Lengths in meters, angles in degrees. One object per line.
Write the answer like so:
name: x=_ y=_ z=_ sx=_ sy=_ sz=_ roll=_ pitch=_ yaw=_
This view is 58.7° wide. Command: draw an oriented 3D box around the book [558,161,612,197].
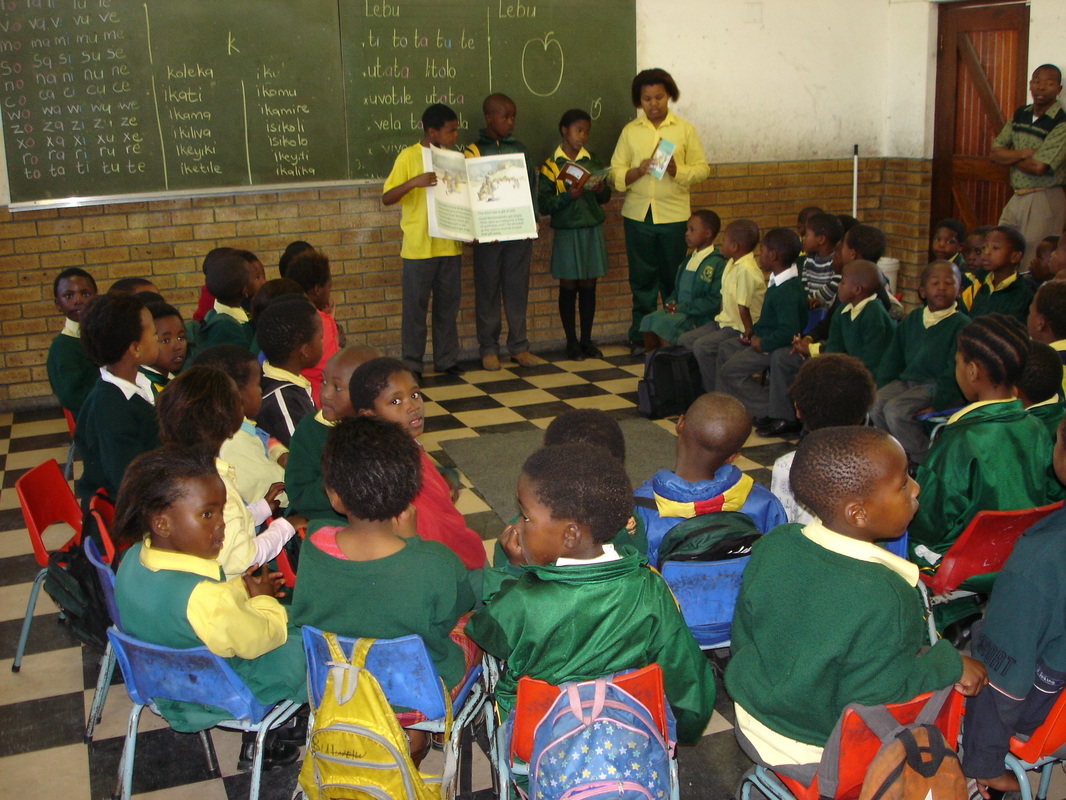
book: x=0.354 y=-1.442 z=6.356 sx=0.284 sy=0.298 sz=0.178 roll=-2 pitch=-9 yaw=20

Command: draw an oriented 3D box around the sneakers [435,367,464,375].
sneakers: x=-0.571 y=-0.193 z=6.401 sx=0.173 sy=0.076 sz=0.065 roll=-3 pitch=9 yaw=12

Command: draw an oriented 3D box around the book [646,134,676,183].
book: x=0.847 y=-1.605 z=6.311 sx=0.056 sy=0.233 sz=0.236 roll=12 pitch=6 yaw=-13

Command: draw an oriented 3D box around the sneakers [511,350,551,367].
sneakers: x=-0.050 y=-0.274 z=6.635 sx=0.212 sy=0.091 sz=0.121 roll=5 pitch=18 yaw=30

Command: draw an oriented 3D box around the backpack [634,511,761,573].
backpack: x=0.484 y=0.385 z=2.601 sx=0.208 sy=0.071 sz=0.156 roll=-6 pitch=18 yaw=2

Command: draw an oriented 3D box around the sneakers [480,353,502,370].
sneakers: x=-0.296 y=-0.260 z=6.508 sx=0.066 sy=0.117 sz=0.183 roll=-3 pitch=2 yaw=-21

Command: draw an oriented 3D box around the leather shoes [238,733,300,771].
leather shoes: x=-0.760 y=1.027 z=2.763 sx=0.211 sy=0.050 sz=0.148 roll=-2 pitch=9 yaw=-10

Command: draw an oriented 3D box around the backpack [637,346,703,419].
backpack: x=0.767 y=-0.134 z=5.583 sx=0.427 sy=0.432 sz=0.302 roll=-14 pitch=18 yaw=-15

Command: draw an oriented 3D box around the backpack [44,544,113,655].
backpack: x=-1.478 y=0.643 z=3.050 sx=0.159 sy=0.360 sz=0.318 roll=-10 pitch=14 yaw=-31
